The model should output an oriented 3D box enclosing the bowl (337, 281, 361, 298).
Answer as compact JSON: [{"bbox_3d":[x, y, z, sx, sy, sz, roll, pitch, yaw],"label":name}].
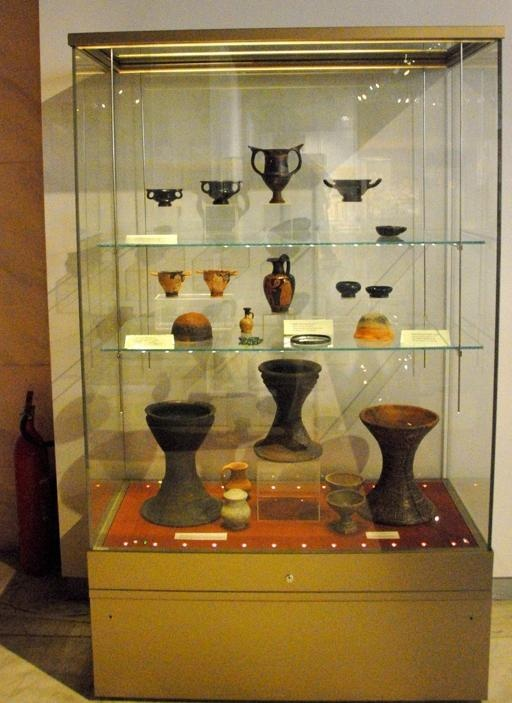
[{"bbox_3d":[0.308,-0.202,2.046,0.065,0.038,0.061,4,-21,2],"label":"bowl"}]

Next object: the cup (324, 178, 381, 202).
[{"bbox_3d":[0.300,-0.521,1.987,0.130,0.052,0.087,-1,3,0],"label":"cup"}]

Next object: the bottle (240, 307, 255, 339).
[{"bbox_3d":[-0.032,-0.093,2.009,0.045,0.089,0.064,-1,12,0],"label":"bottle"}]

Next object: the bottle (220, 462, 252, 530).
[{"bbox_3d":[-0.065,0.458,1.999,0.095,0.182,0.136,-2,12,-1],"label":"bottle"}]

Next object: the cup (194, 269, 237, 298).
[{"bbox_3d":[-0.144,-0.226,2.043,0.133,0.079,0.085,0,5,-1],"label":"cup"}]

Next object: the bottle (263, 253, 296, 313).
[{"bbox_3d":[0.072,-0.216,2.008,0.100,0.191,0.033,-1,12,4],"label":"bottle"}]

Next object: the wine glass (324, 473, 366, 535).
[{"bbox_3d":[0.284,0.478,2.003,0.129,0.143,0.175,0,12,7],"label":"wine glass"}]

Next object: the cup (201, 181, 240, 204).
[{"bbox_3d":[-0.116,-0.523,2.033,0.095,0.054,0.090,0,11,0],"label":"cup"}]

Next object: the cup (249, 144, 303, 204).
[{"bbox_3d":[0.068,-0.568,1.982,0.193,0.172,0.099,0,10,2],"label":"cup"}]

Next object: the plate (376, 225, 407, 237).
[{"bbox_3d":[0.428,-0.380,1.986,0.052,0.021,0.058,-3,8,-34],"label":"plate"}]

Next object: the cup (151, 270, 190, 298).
[{"bbox_3d":[-0.280,-0.224,2.002,0.138,0.082,0.086,0,6,-2],"label":"cup"}]

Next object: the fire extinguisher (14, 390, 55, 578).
[{"bbox_3d":[-0.926,0.556,2.600,0.176,0.764,0.162,-6,13,-21],"label":"fire extinguisher"}]
